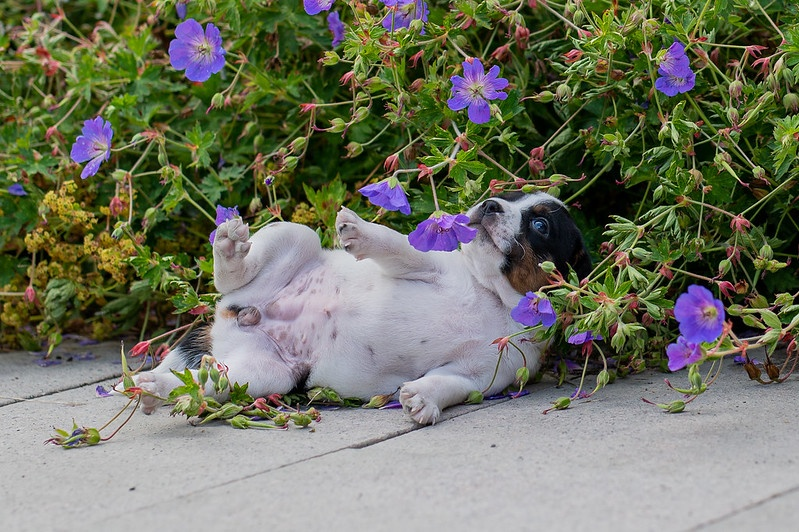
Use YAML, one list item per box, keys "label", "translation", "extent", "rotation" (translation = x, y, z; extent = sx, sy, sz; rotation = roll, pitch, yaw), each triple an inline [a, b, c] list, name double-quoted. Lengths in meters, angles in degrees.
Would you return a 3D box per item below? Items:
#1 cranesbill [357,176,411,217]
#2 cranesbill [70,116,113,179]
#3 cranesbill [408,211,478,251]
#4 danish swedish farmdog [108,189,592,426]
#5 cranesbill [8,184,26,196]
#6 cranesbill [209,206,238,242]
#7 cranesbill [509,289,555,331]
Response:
- label: "cranesbill"
  translation: [-0.067, -0.296, 3.084]
  extent: [0.185, 0.155, 0.226]
  rotation: [-3, 12, -6]
- label: "cranesbill"
  translation: [-1.464, -0.563, 3.508]
  extent: [0.173, 0.274, 0.208]
  rotation: [-10, 15, -37]
- label: "cranesbill"
  translation: [0.190, -0.141, 3.011]
  extent: [0.286, 0.155, 0.143]
  rotation: [-8, 14, -30]
- label: "danish swedish farmdog"
  translation: [-0.039, 0.147, 3.279]
  extent: [1.574, 0.857, 0.676]
  rotation: [1, 12, 9]
- label: "cranesbill"
  translation: [-2.159, -0.426, 4.189]
  extent: [0.074, 0.027, 0.076]
  rotation: [26, 6, 8]
- label: "cranesbill"
  translation: [-0.794, -0.197, 3.363]
  extent: [0.172, 0.180, 0.047]
  rotation: [8, -2, 36]
- label: "cranesbill"
  translation: [0.567, 0.189, 3.118]
  extent: [0.184, 0.179, 0.143]
  rotation: [3, 12, 21]
